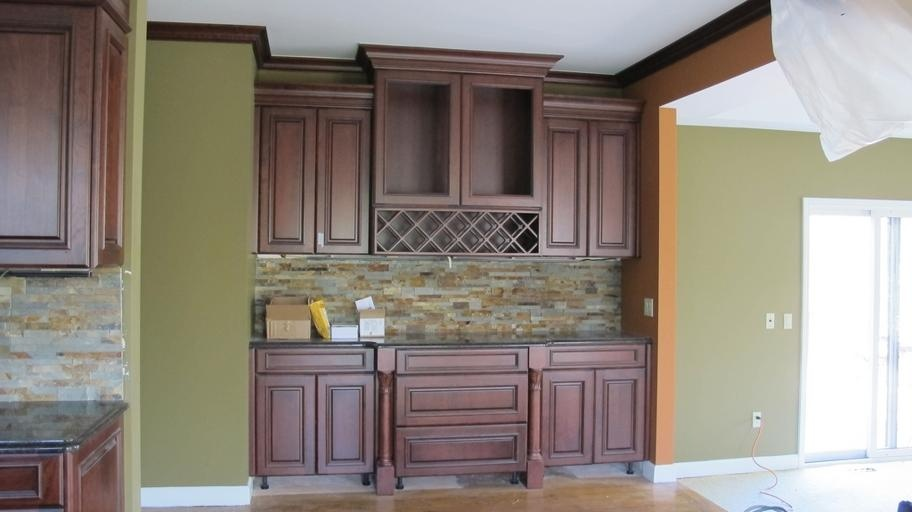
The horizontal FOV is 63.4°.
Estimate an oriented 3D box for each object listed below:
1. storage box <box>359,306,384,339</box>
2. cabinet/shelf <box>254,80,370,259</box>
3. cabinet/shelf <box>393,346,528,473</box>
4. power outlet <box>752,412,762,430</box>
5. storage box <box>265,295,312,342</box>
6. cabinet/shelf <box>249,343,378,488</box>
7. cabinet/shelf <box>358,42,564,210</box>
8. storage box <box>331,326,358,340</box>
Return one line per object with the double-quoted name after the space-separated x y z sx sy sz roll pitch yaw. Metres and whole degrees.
-0.788 0.645 6.943 0.285 0.241 0.263 0 1 -6 "storage box"
-1.294 -0.797 6.772 1.033 1.535 0.260 -1 -2 -13 "cabinet/shelf"
-0.020 1.403 6.711 1.360 1.052 0.613 0 -5 -9 "cabinet/shelf"
2.976 1.622 7.318 0.099 0.167 0.019 -1 -2 -13 "power outlet"
-1.527 0.567 6.750 0.446 0.277 0.418 0 7 -6 "storage box"
-1.285 1.378 6.644 1.566 1.530 0.594 0 -3 -10 "cabinet/shelf"
-0.007 -1.233 6.908 1.789 1.245 0.533 0 -1 -11 "cabinet/shelf"
-1.019 0.711 6.808 0.262 0.138 0.136 0 1 -8 "storage box"
